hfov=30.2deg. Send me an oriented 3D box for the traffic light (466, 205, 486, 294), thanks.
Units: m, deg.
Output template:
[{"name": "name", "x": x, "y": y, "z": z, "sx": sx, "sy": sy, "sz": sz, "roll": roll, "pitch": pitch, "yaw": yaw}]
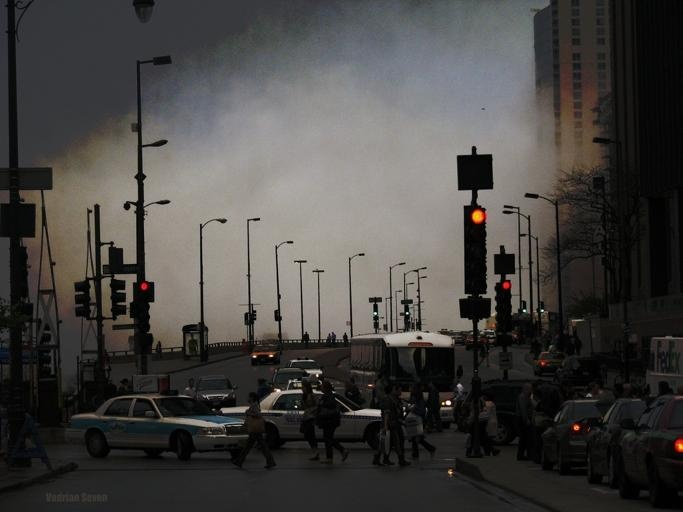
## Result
[{"name": "traffic light", "x": 3.806, "y": -0.188, "z": 35.616, "sx": 0.627, "sy": 2.543, "sz": 0.469, "roll": -2, "pitch": -4, "yaw": 4}]
